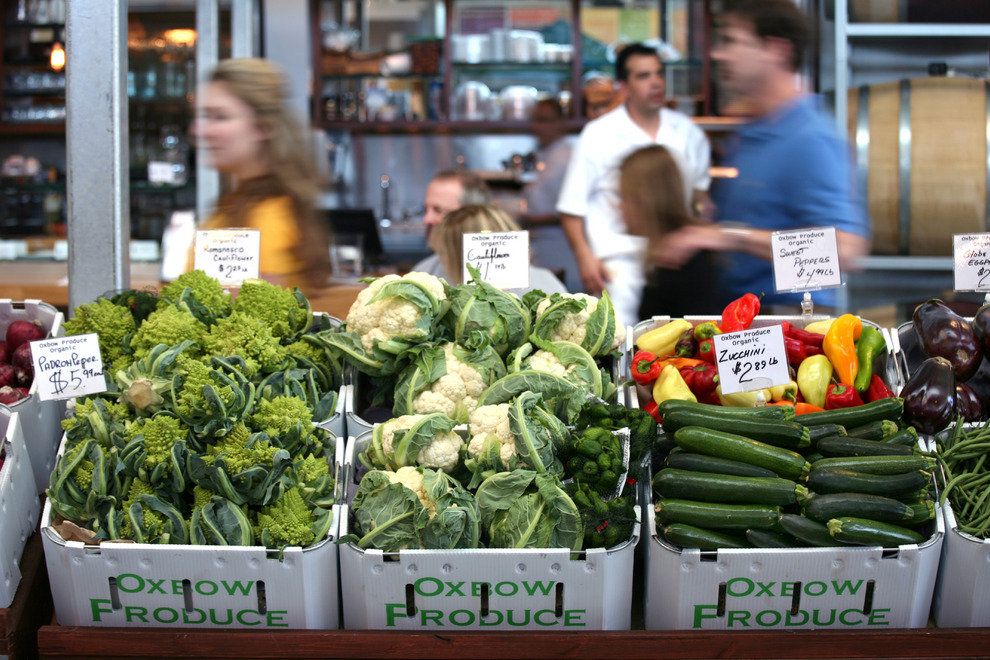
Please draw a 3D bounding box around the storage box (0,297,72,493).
[{"bbox_3d":[-2.007,0.312,4.437,0.361,0.484,0.674,-2,48,-12],"label":"storage box"}]

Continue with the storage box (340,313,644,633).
[{"bbox_3d":[-0.041,0.620,4.141,1.155,0.735,1.174,-1,8,0],"label":"storage box"}]
